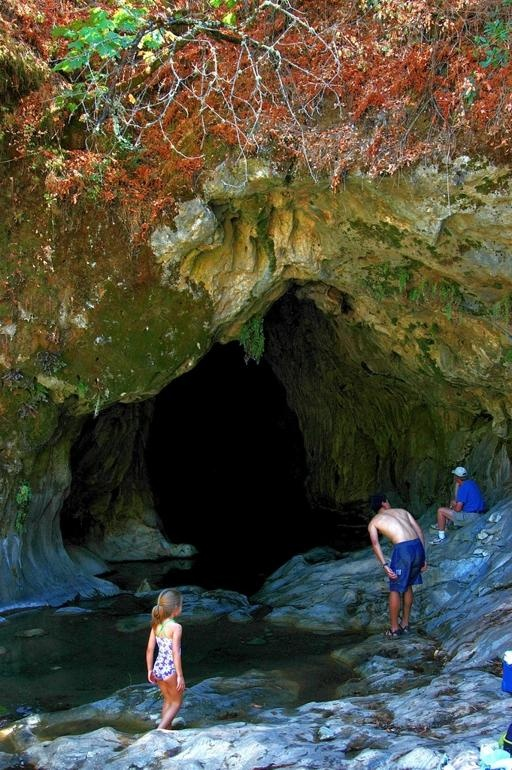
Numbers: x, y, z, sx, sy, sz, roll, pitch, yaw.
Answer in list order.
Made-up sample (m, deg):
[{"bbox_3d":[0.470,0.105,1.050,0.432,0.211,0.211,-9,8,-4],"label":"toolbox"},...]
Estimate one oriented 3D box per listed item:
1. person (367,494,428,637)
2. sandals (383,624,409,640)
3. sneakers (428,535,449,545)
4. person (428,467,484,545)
[{"bbox_3d":[1.322,1.648,6.375,0.469,0.951,0.755,-12,-6,6],"label":"person"},{"bbox_3d":[1.316,2.318,6.680,0.117,0.066,0.190,-1,-1,-11],"label":"sandals"},{"bbox_3d":[2.216,1.884,8.668,0.263,0.115,0.088,-13,13,48],"label":"sneakers"},{"bbox_3d":[2.567,1.457,9.017,0.672,0.722,1.085,-12,-6,14],"label":"person"}]
